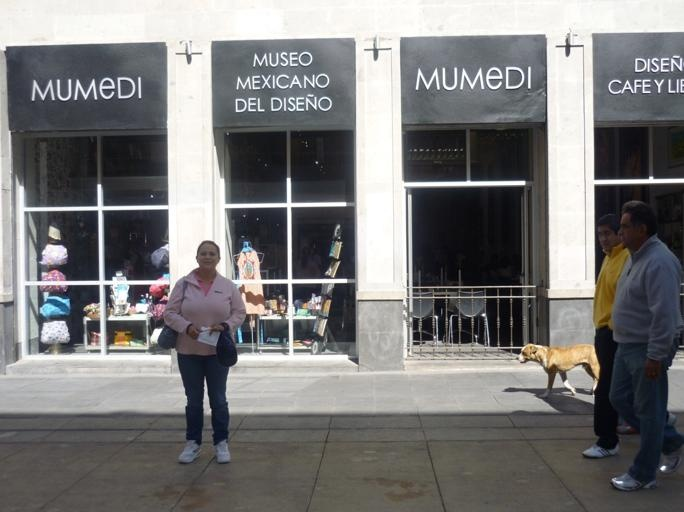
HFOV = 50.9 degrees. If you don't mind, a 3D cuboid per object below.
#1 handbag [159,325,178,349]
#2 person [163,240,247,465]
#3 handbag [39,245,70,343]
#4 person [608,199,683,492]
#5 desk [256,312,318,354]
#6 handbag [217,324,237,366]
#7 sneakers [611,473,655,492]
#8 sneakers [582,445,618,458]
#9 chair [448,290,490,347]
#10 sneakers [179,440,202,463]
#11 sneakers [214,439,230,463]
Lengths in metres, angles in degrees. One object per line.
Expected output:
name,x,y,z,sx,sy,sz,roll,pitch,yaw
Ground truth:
handbag,-1.932,0.878,7.853,0.239,0.252,0.149,3,7,32
person,-1.508,1.051,7.925,0.784,2.392,0.510,0,6,12
handbag,-5.048,0.711,12.640,0.525,1.840,0.247,-2,6,-8
person,3.041,0.893,7.180,0.633,2.815,0.546,1,6,20
desk,-0.852,1.363,12.798,1.200,0.737,0.681,-3,1,31
handbag,-1.251,0.999,7.762,0.250,0.396,0.423,-5,3,1
sneakers,2.866,2.253,7.130,0.430,0.183,0.160,3,-3,4
sneakers,2.839,2.151,7.975,0.429,0.166,0.143,0,-3,-2
chair,2.236,1.102,12.490,0.931,1.250,0.901,0,3,4
sneakers,-1.683,2.156,7.969,0.130,0.140,0.319,1,1,11
sneakers,-1.309,2.147,7.865,0.109,0.141,0.315,-1,-4,-10
